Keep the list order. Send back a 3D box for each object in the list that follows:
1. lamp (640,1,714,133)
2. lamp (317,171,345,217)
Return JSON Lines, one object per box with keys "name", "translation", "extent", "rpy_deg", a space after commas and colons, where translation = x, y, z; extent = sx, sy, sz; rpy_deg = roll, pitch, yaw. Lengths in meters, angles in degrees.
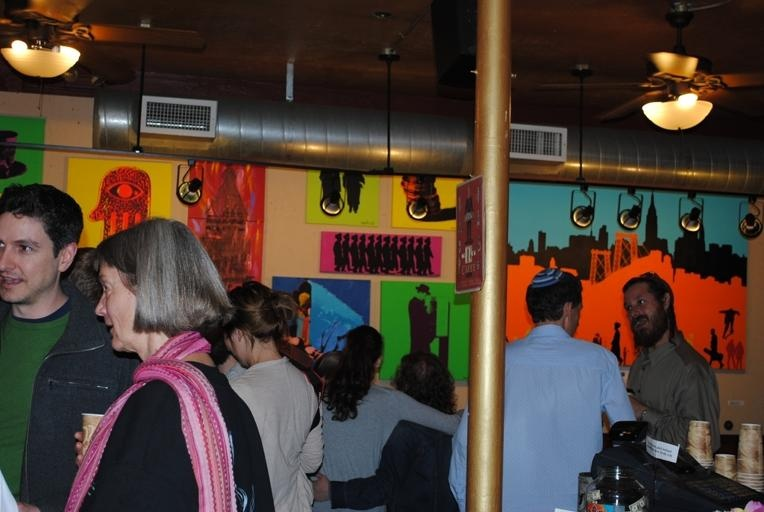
{"name": "lamp", "translation": [2.440, -1.556, 7.304], "extent": [0.598, 1.045, 1.312], "rpy_deg": [2, -4, 19]}
{"name": "lamp", "translation": [-0.508, -0.608, 8.864], "extent": [0.302, 0.637, 0.314], "rpy_deg": [1, -22, -8]}
